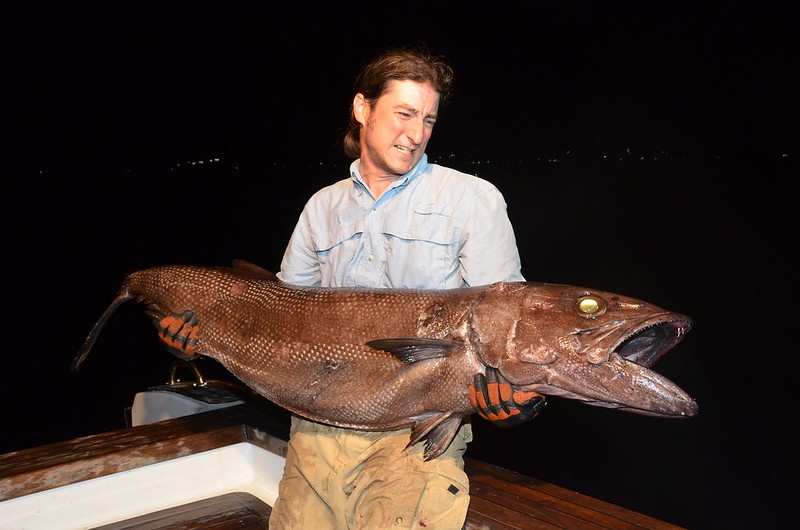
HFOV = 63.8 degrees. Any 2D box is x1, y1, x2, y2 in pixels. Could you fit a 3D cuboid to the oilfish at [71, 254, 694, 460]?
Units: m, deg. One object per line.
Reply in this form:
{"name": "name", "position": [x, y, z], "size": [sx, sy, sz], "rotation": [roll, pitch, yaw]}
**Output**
{"name": "oilfish", "position": [-0.271, 0.615, 4.448], "size": [4.301, 1.189, 1.064], "rotation": [1, 1, 11]}

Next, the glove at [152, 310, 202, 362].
{"name": "glove", "position": [-1.544, 0.499, 4.542], "size": [0.270, 0.358, 0.137], "rotation": [0, 4, 7]}

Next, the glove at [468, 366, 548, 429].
{"name": "glove", "position": [0.673, 0.830, 4.029], "size": [0.335, 0.157, 0.427], "rotation": [29, -17, -30]}
